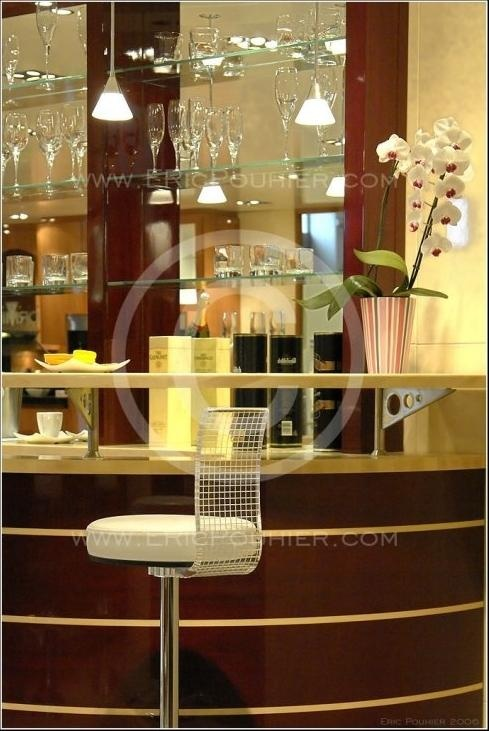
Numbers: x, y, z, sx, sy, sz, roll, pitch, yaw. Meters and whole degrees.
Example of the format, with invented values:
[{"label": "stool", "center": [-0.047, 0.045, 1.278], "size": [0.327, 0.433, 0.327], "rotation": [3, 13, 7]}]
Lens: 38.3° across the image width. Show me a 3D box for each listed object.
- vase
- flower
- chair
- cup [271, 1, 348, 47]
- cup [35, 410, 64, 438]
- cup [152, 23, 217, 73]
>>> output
[{"label": "vase", "center": [0.432, -0.076, 2.147], "size": [0.143, 0.240, 0.173], "rotation": [3, -14, 5]}, {"label": "flower", "center": [0.498, -0.478, 2.311], "size": [0.588, 0.818, 0.500], "rotation": [-2, 11, -11]}, {"label": "chair", "center": [-0.126, 0.493, 1.686], "size": [0.378, 0.908, 0.538], "rotation": [-1, 10, 5]}, {"label": "cup", "center": [0.219, -1.161, 2.397], "size": [0.223, 0.113, 0.175], "rotation": [-7, 12, -23]}, {"label": "cup", "center": [-0.625, 0.190, 2.245], "size": [0.071, 0.094, 0.076], "rotation": [0, -6, 0]}, {"label": "cup", "center": [-0.231, -1.174, 2.626], "size": [0.247, 0.141, 0.158], "rotation": [2, 19, 11]}]
